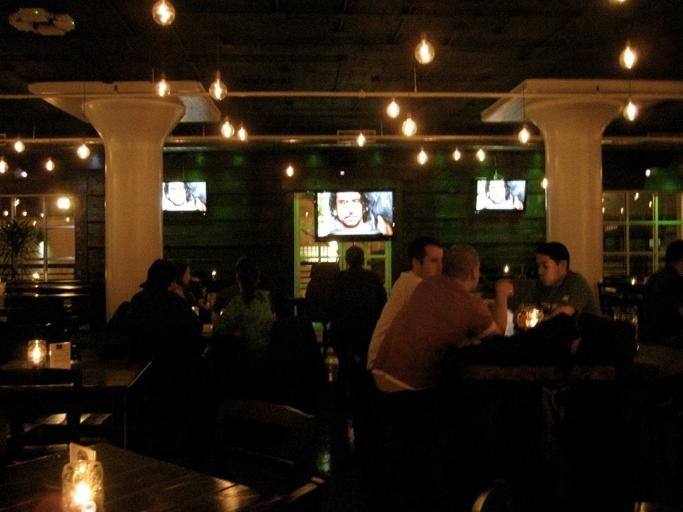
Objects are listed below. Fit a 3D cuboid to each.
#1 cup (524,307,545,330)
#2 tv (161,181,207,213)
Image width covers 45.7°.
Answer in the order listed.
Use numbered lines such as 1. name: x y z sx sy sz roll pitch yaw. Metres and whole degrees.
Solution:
1. cup: 1.671 0.549 7.012 0.165 0.241 0.087 2 -30 22
2. tv: -2.489 -0.947 12.774 0.590 0.450 0.079 0 -4 -3
